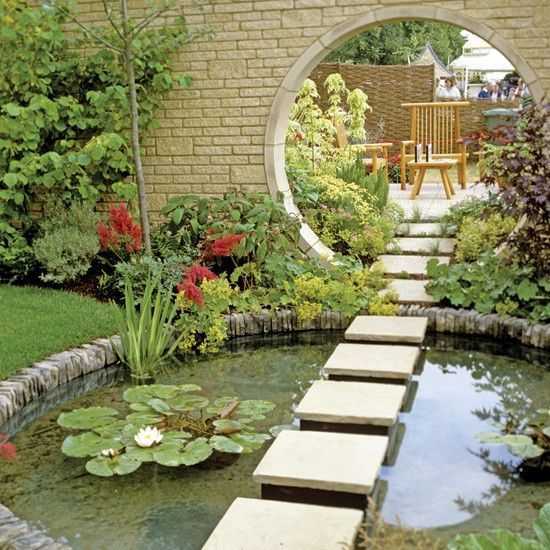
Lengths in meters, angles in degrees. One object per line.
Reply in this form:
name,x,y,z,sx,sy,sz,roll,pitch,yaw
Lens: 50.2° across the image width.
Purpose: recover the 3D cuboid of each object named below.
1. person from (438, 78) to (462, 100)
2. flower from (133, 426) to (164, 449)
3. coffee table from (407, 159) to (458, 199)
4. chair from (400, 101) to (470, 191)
person,3.546,-3.825,11.974,0.445,0.583,1.295,1,11,15
flower,-0.614,0.787,2.847,0.126,0.045,0.101,0,12,17
coffee table,2.297,-1.415,8.609,0.916,0.437,0.850,-6,11,-14
chair,2.628,-2.128,9.671,1.334,1.374,1.214,-4,15,-2
